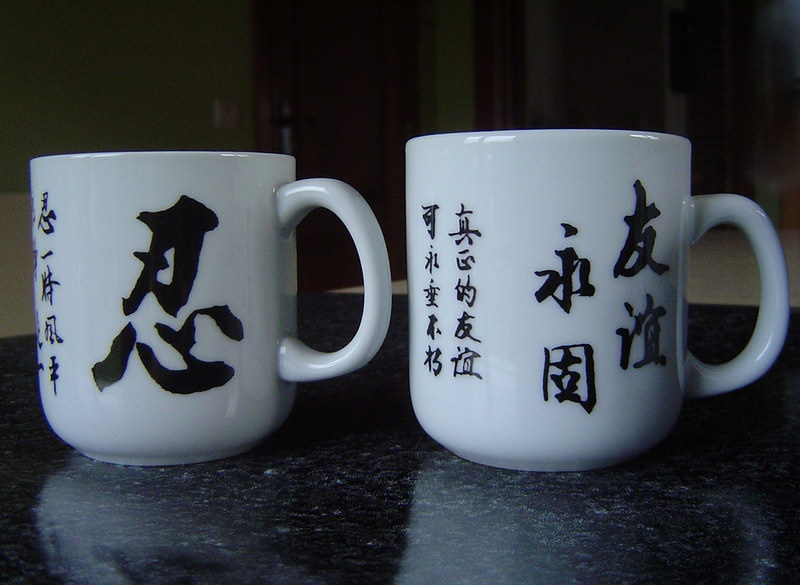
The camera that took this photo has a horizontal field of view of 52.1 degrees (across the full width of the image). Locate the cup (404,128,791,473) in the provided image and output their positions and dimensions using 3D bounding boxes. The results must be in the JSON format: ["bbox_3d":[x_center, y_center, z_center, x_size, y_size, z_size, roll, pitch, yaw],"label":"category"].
[{"bbox_3d":[0.151,-0.011,0.698,0.194,0.247,0.331,2,9,33],"label":"cup"}]

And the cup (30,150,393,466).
[{"bbox_3d":[-0.141,0.011,0.651,0.276,0.219,0.180,1,2,2],"label":"cup"}]
